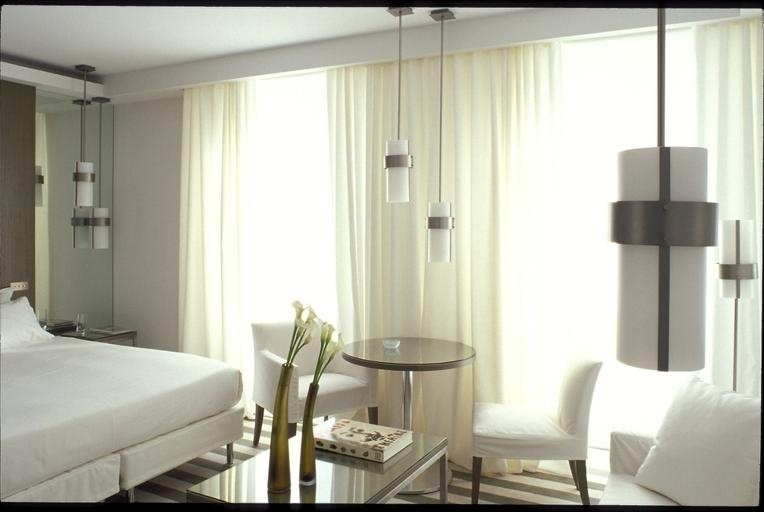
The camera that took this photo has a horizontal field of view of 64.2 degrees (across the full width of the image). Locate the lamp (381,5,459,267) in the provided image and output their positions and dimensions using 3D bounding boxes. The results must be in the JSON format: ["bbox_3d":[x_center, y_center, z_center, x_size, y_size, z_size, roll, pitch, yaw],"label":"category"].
[{"bbox_3d":[0.285,-0.850,4.388,0.555,1.845,0.815,-2,4,3],"label":"lamp"}]

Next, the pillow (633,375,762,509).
[{"bbox_3d":[1.685,0.983,3.157,0.407,0.568,0.533,-4,4,-27],"label":"pillow"}]

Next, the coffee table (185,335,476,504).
[{"bbox_3d":[-0.130,0.939,3.733,0.898,0.828,1.607,-2,-5,31],"label":"coffee table"}]

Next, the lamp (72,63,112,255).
[{"bbox_3d":[-2.547,-0.871,5.318,0.363,1.653,1.173,-4,4,-23],"label":"lamp"}]

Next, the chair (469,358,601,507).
[{"bbox_3d":[0.981,1.139,4.252,1.044,1.076,0.821,1,-5,8],"label":"chair"}]

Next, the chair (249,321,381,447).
[{"bbox_3d":[-0.534,0.995,4.702,0.796,0.848,0.776,-1,3,-31],"label":"chair"}]
